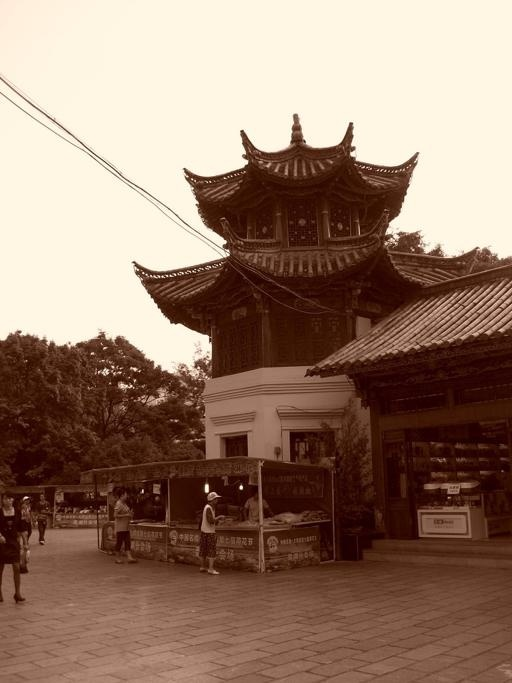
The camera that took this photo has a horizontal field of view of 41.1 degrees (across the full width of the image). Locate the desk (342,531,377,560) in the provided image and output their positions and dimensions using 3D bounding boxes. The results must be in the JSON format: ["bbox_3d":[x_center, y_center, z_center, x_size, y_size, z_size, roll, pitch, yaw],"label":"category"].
[{"bbox_3d":[2.217,4.354,14.700,0.503,0.597,0.908,-6,-9,33],"label":"desk"}]

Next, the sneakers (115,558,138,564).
[{"bbox_3d":[-2.984,4.981,15.490,0.329,0.098,0.214,-11,-17,30],"label":"sneakers"}]

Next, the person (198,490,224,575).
[{"bbox_3d":[-0.911,3.724,13.338,0.362,1.488,0.900,0,-13,-4],"label":"person"}]

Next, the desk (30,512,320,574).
[{"bbox_3d":[-1.736,4.740,16.388,2.037,0.870,7.817,10,-17,-40],"label":"desk"}]

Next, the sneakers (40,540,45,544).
[{"bbox_3d":[-6.698,6.308,21.466,0.186,0.121,0.150,-1,-16,-2],"label":"sneakers"}]

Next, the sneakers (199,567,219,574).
[{"bbox_3d":[-0.929,4.401,13.088,0.463,0.169,0.154,-7,-15,22],"label":"sneakers"}]
